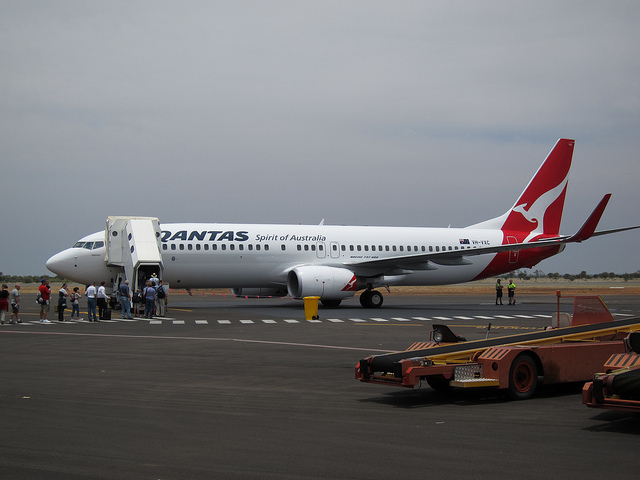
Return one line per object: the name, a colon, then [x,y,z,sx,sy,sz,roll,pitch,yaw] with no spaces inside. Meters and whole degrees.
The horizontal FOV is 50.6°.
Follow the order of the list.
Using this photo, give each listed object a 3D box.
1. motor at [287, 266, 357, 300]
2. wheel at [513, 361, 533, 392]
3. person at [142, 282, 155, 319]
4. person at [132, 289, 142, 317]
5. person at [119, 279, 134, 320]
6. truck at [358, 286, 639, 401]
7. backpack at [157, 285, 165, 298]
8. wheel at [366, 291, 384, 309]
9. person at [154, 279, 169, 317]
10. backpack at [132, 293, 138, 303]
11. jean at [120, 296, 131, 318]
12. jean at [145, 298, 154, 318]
motor: [0.066,2.296,35.205,3.818,1.733,1.864,4,-10,-35]
wheel: [3.714,2.513,12.469,0.390,0.584,0.201,3,-3,-44]
person: [-7.532,2.656,29.828,0.420,1.548,0.983,1,-2,-15]
person: [-8.640,2.931,31.797,0.382,1.156,1.565,1,-2,-16]
person: [-8.540,2.699,29.764,0.561,1.509,1.351,1,-2,-15]
truck: [4.248,1.997,13.619,7.260,1.788,1.857,-1,0,-28]
backpack: [-7.155,2.334,30.364,0.313,0.512,0.226,1,-2,-15]
wheel: [2.928,3.283,37.098,1.253,1.055,0.435,0,-7,-22]
person: [-7.267,2.679,30.762,0.529,1.572,1.469,1,-2,-12]
backpack: [-8.732,2.724,31.857,0.223,0.418,0.670,1,-2,-16]
jean: [-8.572,2.947,29.817,0.419,0.965,0.623,1,-2,-16]
jean: [-7.503,2.980,29.726,0.271,0.876,0.508,2,-2,-16]
